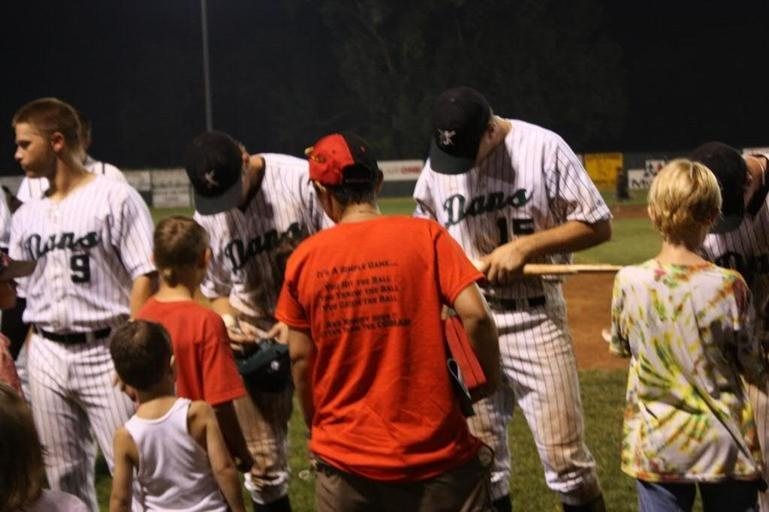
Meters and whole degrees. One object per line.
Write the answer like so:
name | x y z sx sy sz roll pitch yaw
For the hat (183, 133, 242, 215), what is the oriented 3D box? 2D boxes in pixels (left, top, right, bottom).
hat | -1.576 -0.774 9.805 0.482 0.753 0.379 -2 -12 3

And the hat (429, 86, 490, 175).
hat | 0.661 -1.174 9.782 0.515 0.815 0.439 16 -12 21
